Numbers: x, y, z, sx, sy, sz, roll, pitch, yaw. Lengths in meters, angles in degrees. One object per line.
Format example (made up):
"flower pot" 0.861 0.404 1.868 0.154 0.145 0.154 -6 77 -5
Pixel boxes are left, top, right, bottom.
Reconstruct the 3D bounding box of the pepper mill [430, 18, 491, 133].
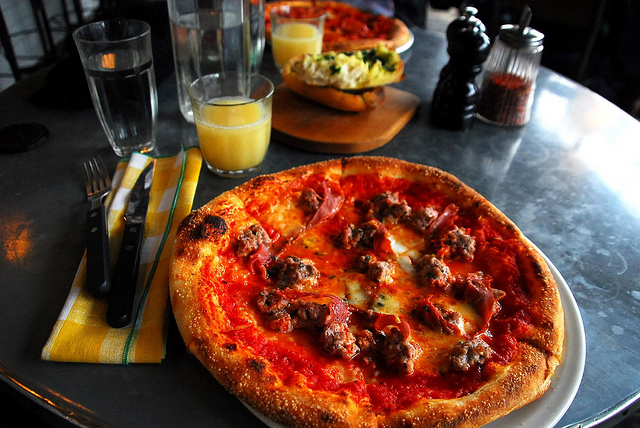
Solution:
"pepper mill" 0.660 -0.723 2.372 0.167 0.437 0.177 17 26 30

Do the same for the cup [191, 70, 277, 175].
"cup" -0.335 -0.388 2.234 0.383 0.360 0.412 2 29 -1

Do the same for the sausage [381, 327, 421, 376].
"sausage" 0.252 0.438 1.617 0.118 0.088 0.084 31 48 28

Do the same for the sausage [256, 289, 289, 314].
"sausage" -0.162 0.299 1.706 0.087 0.033 0.074 29 52 31

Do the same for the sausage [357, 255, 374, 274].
"sausage" 0.158 0.179 1.816 0.046 0.026 0.063 11 77 16

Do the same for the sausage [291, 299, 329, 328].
"sausage" -0.031 0.330 1.668 0.089 0.028 0.092 6 80 4

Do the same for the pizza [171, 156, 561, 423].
"pizza" 0.144 0.201 1.796 1.285 0.244 1.043 -2 42 -7

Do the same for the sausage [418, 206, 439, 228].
"sausage" 0.407 0.011 1.926 0.063 0.020 0.076 16 75 7

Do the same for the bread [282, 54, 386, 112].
"bread" 0.056 -0.608 2.486 0.467 0.161 0.247 18 38 16

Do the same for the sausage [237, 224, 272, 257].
"sausage" -0.241 0.094 1.827 0.084 0.037 0.115 1 46 -2

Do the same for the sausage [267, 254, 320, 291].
"sausage" -0.093 0.201 1.778 0.122 0.046 0.132 -5 31 -15

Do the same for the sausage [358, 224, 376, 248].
"sausage" 0.175 0.084 1.884 0.050 0.024 0.092 5 78 12

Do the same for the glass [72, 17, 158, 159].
"glass" -0.834 -0.530 2.184 0.298 0.499 0.293 -11 31 -12

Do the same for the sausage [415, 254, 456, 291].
"sausage" 0.401 0.216 1.842 0.132 0.109 0.145 13 12 23

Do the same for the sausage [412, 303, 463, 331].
"sausage" 0.386 0.348 1.702 0.177 0.035 0.144 -7 11 -9

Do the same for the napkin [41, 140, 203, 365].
"napkin" -0.664 0.104 1.830 0.370 0.086 0.888 3 54 -3

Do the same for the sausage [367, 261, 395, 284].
"sausage" 0.218 0.192 1.799 0.074 0.025 0.075 13 43 4

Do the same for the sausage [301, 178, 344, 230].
"sausage" 0.018 -0.050 1.974 0.152 0.061 0.191 -7 66 -15

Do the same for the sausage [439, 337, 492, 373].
"sausage" 0.457 0.450 1.713 0.177 0.089 0.162 0 8 -11

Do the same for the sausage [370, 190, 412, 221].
"sausage" 0.265 -0.025 1.988 0.137 0.052 0.100 -1 69 -18
